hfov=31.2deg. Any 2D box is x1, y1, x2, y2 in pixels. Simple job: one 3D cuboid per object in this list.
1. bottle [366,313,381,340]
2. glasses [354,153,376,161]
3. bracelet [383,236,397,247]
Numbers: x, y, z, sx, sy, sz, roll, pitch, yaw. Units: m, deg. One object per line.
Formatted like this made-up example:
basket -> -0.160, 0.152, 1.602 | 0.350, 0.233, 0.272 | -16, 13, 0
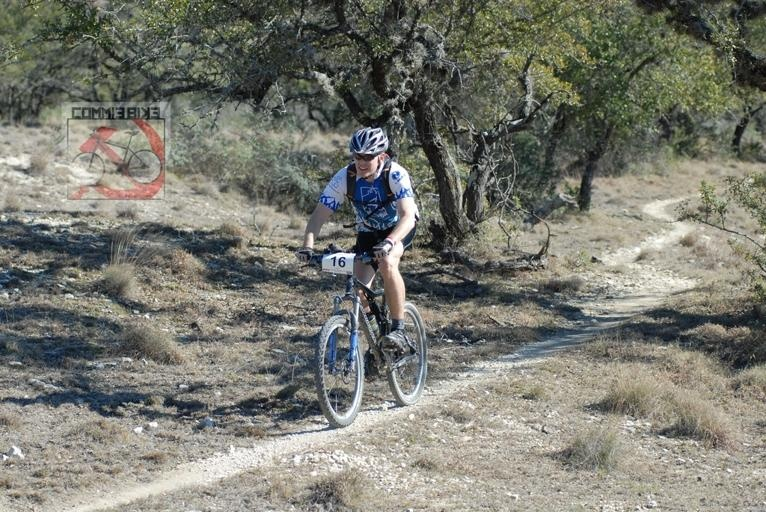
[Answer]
bottle -> -0.223, 1.484, 29.058 | 0.335, 0.519, 0.342 | -24, 4, 2
glasses -> -0.374, -2.031, 28.712 | 0.422, 0.153, 0.132 | 2, 5, -3
bracelet -> 0.144, -0.293, 28.491 | 0.257, 0.159, 0.162 | 2, 5, -10
